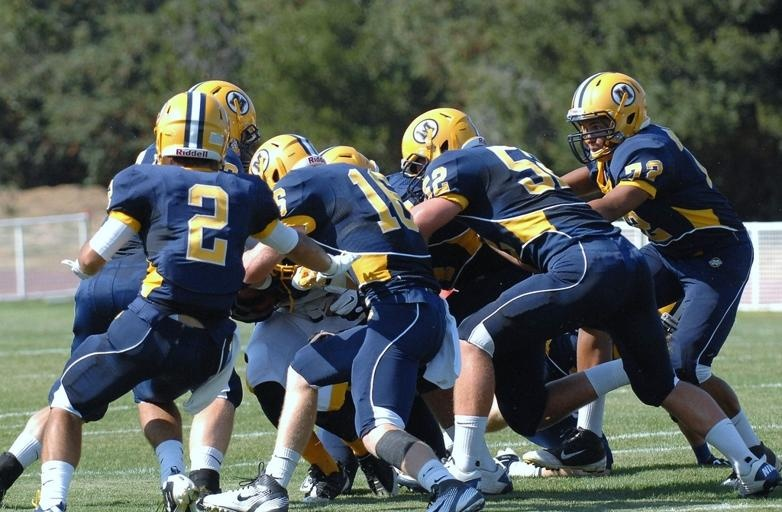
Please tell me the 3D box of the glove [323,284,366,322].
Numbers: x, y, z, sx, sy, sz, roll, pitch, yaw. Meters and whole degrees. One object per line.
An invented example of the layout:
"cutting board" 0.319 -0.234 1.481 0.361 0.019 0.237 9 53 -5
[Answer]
"glove" -0.335 0.397 9.853 0.332 0.293 0.238 -12 -4 1

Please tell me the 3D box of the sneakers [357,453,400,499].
"sneakers" -0.074 1.804 9.775 0.165 0.479 0.210 -27 6 38

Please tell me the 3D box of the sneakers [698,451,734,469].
"sneakers" 2.736 1.716 9.987 0.300 0.112 0.098 -2 -4 1
